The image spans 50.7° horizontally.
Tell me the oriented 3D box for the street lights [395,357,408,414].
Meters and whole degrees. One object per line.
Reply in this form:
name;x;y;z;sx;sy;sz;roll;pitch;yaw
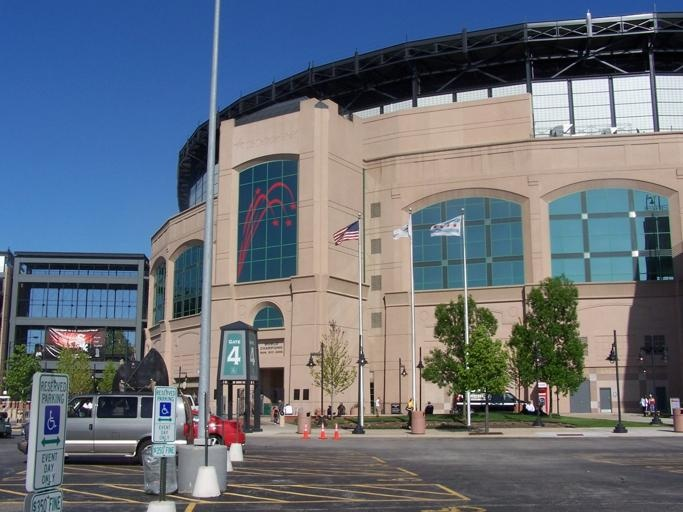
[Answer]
street lights;5.537;11.764;65.812;0.886;4.752;0.423;-4;-11;18

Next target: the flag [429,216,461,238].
flag;8.123;-2.202;56.001;2.170;2.377;0.324;3;3;23

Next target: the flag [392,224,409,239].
flag;4.245;-1.656;52.292;1.210;0.520;1.196;-5;0;10

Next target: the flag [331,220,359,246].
flag;0.159;-1.862;58.249;2.273;2.414;0.376;0;-3;24

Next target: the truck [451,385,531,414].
truck;12.928;12.511;61.300;6.349;1.796;2.464;-4;-12;13

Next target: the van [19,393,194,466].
van;-8.691;6.723;28.511;6.276;2.941;3.794;2;-14;-2

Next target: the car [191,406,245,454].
car;-5.614;7.356;30.267;3.029;1.115;1.457;5;-16;-6

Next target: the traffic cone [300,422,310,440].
traffic cone;-1.960;10.668;43.897;0.802;0.971;0.862;4;-14;-16
